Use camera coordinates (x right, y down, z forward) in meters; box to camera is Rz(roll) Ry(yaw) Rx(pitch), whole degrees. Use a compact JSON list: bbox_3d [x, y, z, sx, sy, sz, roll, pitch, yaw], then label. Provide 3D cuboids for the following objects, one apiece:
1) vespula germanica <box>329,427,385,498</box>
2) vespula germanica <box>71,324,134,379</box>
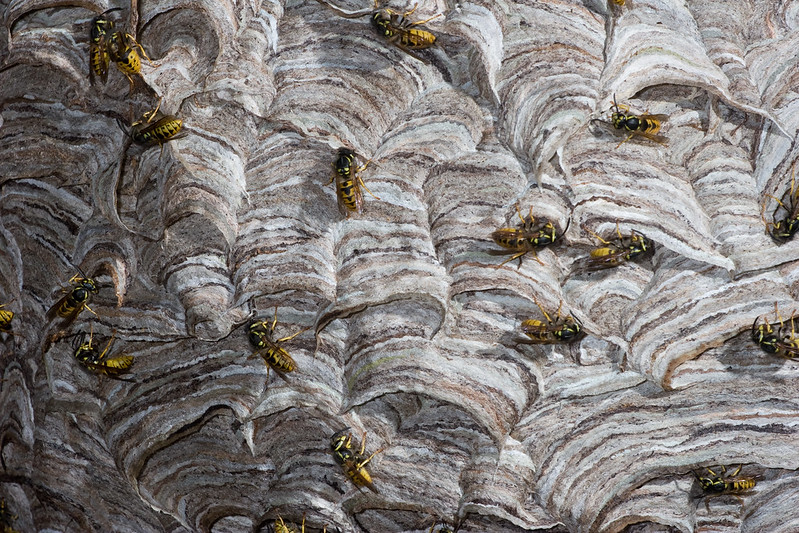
[{"bbox_3d":[-0.498,2.135,12.913,0.722,0.569,0.222,50,-29,3],"label":"vespula germanica"},{"bbox_3d":[-3.435,0.980,13.213,0.614,0.492,0.204,39,-33,23],"label":"vespula germanica"}]
